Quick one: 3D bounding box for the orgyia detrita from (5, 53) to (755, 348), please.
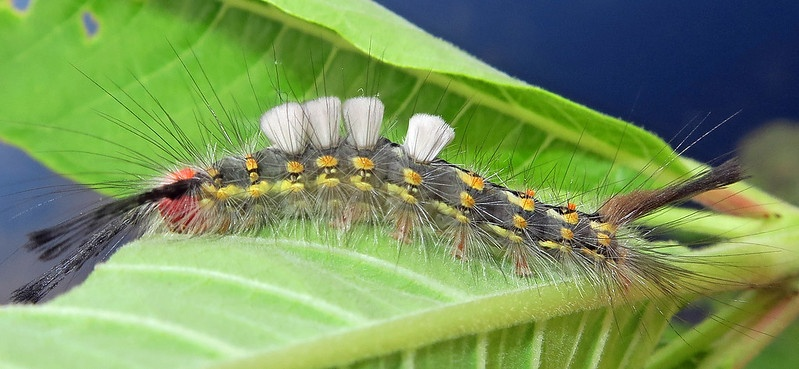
[{"bbox_3d":[-0.250,0.363,5.749,5.799,2.110,1.201,10,-41,4],"label":"orgyia detrita"}]
